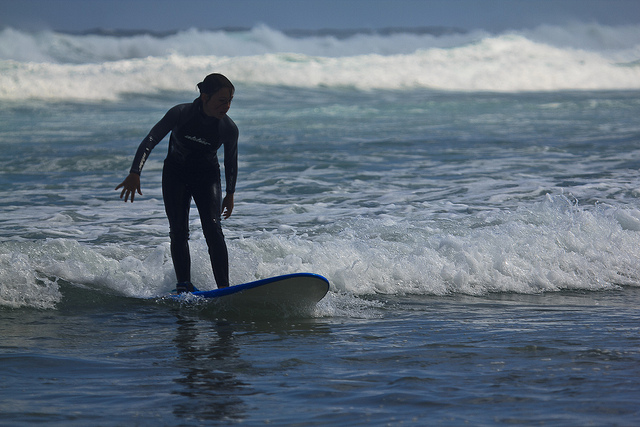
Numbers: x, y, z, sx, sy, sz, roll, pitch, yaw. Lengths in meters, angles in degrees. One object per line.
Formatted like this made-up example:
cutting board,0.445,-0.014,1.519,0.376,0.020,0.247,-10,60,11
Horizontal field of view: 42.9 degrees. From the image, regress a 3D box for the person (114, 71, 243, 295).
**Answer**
person,-1.474,-0.317,9.010,1.137,2.493,0.827,0,21,-2
